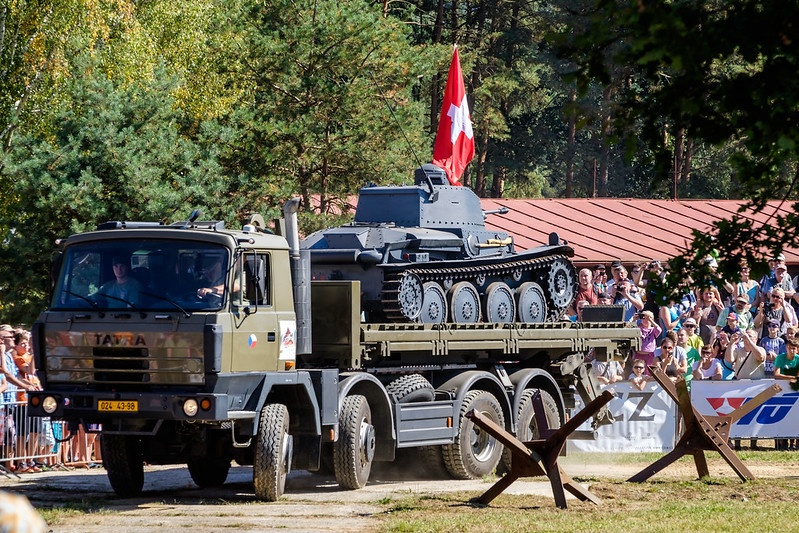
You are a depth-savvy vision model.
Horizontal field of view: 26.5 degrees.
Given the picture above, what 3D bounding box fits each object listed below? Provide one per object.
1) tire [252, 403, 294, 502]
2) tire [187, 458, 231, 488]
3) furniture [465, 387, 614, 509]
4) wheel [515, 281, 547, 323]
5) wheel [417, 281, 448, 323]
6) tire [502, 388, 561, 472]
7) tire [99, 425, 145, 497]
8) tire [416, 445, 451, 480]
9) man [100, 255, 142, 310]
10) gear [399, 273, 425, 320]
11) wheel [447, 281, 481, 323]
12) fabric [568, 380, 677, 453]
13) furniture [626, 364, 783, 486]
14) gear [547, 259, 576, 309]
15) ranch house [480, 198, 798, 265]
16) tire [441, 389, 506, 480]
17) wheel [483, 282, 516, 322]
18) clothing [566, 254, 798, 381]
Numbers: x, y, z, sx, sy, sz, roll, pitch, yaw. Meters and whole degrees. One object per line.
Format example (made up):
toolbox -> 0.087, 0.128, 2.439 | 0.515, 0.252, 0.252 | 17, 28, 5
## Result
tire -> -2.408, 3.533, 31.969 | 0.714, 1.835, 0.429 | -2, -1, -6
tire -> -3.865, 4.208, 34.285 | 0.762, 0.803, 0.740 | -2, 5, -9
furniture -> 2.708, 3.724, 32.591 | 2.336, 2.324, 1.706 | -6, 35, 9
wheel -> 3.002, 0.852, 39.463 | 0.143, 0.886, 0.894 | -8, -5, 34
wheel -> 0.668, 0.819, 37.452 | 0.854, 0.983, 0.165 | 2, -4, -43
tire -> 2.735, 3.439, 35.794 | 0.454, 1.547, 1.490 | 14, -15, -34
tire -> -5.321, 3.726, 32.576 | 0.336, 1.105, 1.090 | -12, -24, 6
tire -> 0.705, 3.985, 34.551 | 0.682, 0.717, 0.287 | -5, 13, -15
man -> -5.169, 0.332, 31.551 | 0.724, 0.944, 0.514 | -8, -19, 7
gear -> 0.198, 0.641, 36.949 | 0.198, 1.008, 0.983 | -2, 10, 32
wheel -> 1.381, 0.825, 37.981 | 0.845, 0.878, 0.160 | 4, -4, -42
fabric -> 4.879, 3.390, 37.460 | 2.582, 1.604, 0.063 | 1, -1, 20
furniture -> 6.149, 3.366, 34.015 | 2.903, 2.215, 2.062 | 7, -1, -1
gear -> 3.782, 0.414, 40.281 | 0.146, 1.156, 1.121 | -4, 0, 32
ranch house -> 6.588, -1.242, 52.056 | 6.492, 1.529, 2.602 | 0, -24, -28
tire -> 1.531, 3.519, 34.987 | 0.533, 1.841, 1.790 | 3, 7, 37
wheel -> 2.225, 0.837, 38.747 | 0.139, 0.884, 0.856 | -7, -2, 35
clothing -> 6.860, 0.771, 40.873 | 4.965, 2.896, 2.324 | 3, -9, 2
